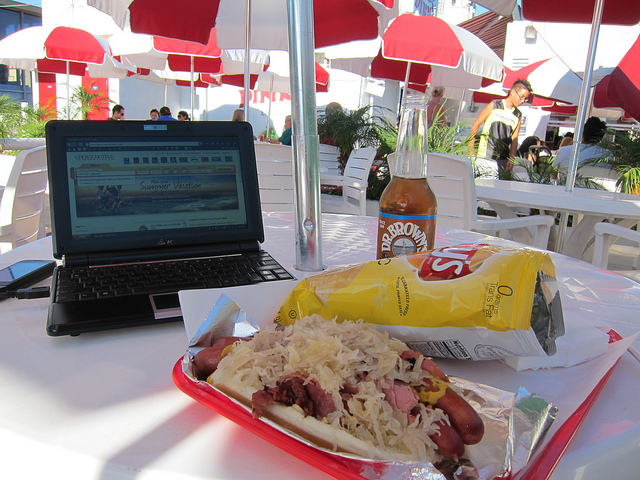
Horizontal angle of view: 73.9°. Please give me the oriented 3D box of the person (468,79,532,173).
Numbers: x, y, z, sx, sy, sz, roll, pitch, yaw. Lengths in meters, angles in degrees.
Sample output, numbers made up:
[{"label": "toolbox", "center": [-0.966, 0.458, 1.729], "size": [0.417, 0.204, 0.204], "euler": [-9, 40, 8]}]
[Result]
[{"label": "person", "center": [2.087, -1.284, 4.960], "size": [0.633, 1.310, 0.631], "euler": [10, 13, 43]}]

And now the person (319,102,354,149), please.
[{"label": "person", "center": [0.249, -1.578, 6.153], "size": [0.486, 1.020, 0.564], "euler": [1, 12, 10]}]

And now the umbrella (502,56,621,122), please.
[{"label": "umbrella", "center": [3.626, -2.608, 6.562], "size": [1.418, 0.567, 1.358], "euler": [-16, 52, -13]}]

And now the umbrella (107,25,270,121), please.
[{"label": "umbrella", "center": [-1.970, -2.495, 5.875], "size": [1.298, 0.849, 1.337], "euler": [17, 35, 21]}]

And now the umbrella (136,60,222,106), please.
[{"label": "umbrella", "center": [-2.310, -2.828, 7.833], "size": [1.025, 1.004, 0.973], "euler": [-13, 29, -29]}]

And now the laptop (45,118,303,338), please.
[{"label": "laptop", "center": [-0.319, -0.036, 0.943], "size": [0.581, 0.400, 0.499], "euler": [-4, 6, -39]}]
